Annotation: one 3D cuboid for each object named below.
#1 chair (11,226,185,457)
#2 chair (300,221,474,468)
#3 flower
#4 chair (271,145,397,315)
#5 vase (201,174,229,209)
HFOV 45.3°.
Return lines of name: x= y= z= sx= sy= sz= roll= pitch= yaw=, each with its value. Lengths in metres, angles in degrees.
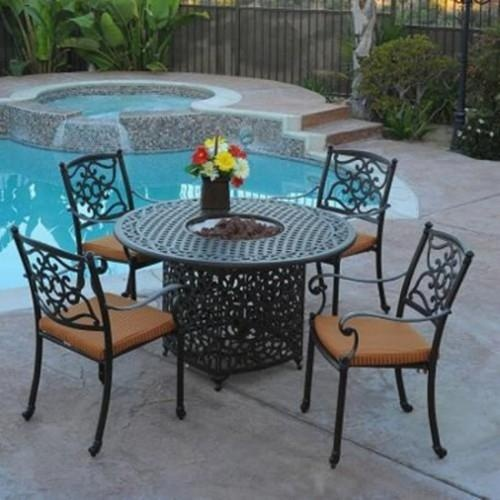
chair: x=-0.629 y=0.307 z=2.539 sx=0.647 sy=0.839 sz=0.624 roll=-8 pitch=20 yaw=-33
chair: x=0.506 y=0.347 z=2.459 sx=0.665 sy=0.814 sz=0.621 roll=-6 pitch=14 yaw=-28
flower: x=-0.202 y=-0.472 z=3.257 sx=0.376 sy=0.212 sz=0.350 roll=-10 pitch=-6 yaw=-18
chair: x=0.519 y=-0.076 z=4.071 sx=0.736 sy=1.032 sz=0.734 roll=7 pitch=-12 yaw=-22
vase: x=-0.189 y=-0.334 z=3.306 sx=0.154 sy=0.183 sz=0.188 roll=1 pitch=24 yaw=-2
